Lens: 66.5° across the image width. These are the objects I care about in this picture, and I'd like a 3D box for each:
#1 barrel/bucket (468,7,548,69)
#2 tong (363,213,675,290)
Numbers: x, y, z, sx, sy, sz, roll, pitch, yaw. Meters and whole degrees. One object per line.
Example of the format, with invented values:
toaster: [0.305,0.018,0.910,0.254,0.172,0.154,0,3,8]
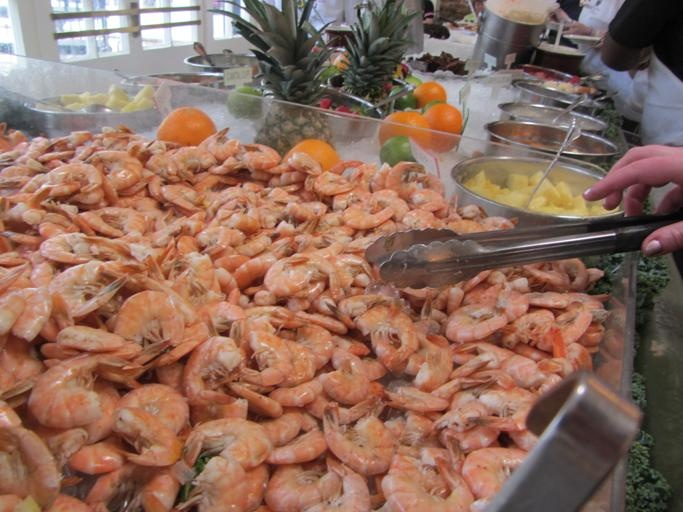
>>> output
barrel/bucket: [1.552,-2.020,4.924,0.582,0.527,0.604,7,34,-5]
tong: [0.566,-0.017,1.763,1.059,0.142,0.152,-7,28,4]
